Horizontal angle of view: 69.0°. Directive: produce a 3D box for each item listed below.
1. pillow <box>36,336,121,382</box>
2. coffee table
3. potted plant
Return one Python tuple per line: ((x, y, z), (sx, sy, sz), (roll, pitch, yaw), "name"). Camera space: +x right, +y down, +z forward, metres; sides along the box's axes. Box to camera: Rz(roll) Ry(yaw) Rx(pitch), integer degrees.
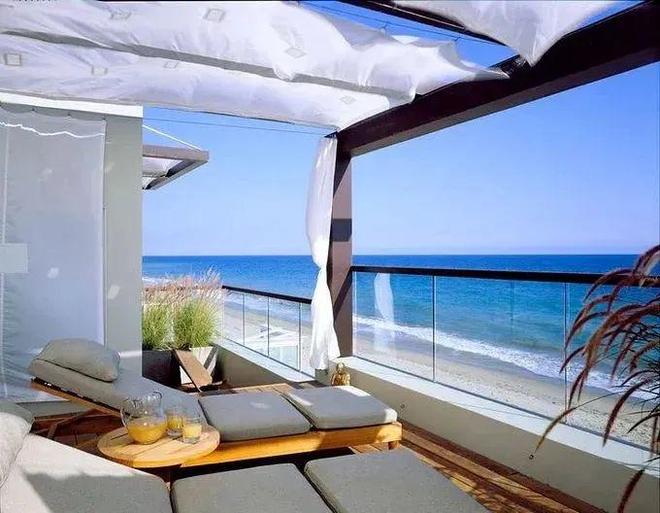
((-1.726, 0.716, 3.293), (0.484, 0.275, 0.346), (-3, 8, -18), "pillow")
((-0.987, 1.061, 2.751), (0.551, 0.271, 0.489), (5, -2, -18), "coffee table")
((-2.187, 1.214, 7.116), (0.930, 1.146, 1.080), (5, 0, -33), "potted plant")
